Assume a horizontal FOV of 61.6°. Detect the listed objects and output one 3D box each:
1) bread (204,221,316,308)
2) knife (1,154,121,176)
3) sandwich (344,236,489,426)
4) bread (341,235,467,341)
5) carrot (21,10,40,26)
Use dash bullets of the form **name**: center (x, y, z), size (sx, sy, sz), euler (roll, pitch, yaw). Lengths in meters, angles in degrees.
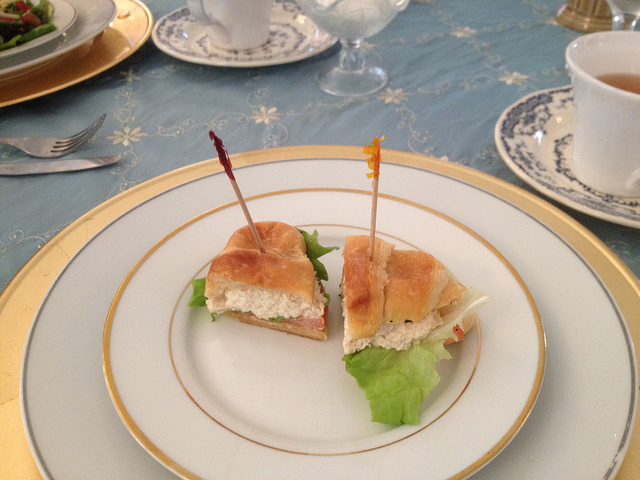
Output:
- **bread**: center (-0.175, 0.087, 1.575), size (0.335, 0.116, 0.373), euler (-12, 38, -14)
- **knife**: center (-0.907, -0.261, 1.879), size (0.414, 0.046, 0.048), euler (-3, 67, -2)
- **sandwich**: center (0.243, 0.172, 1.537), size (0.352, 0.220, 0.582), euler (0, 35, 14)
- **bread**: center (0.227, 0.141, 1.521), size (0.355, 0.133, 0.389), euler (4, 40, 19)
- **carrot**: center (-1.185, -0.909, 2.198), size (0.051, 0.014, 0.056), euler (35, 74, -9)
